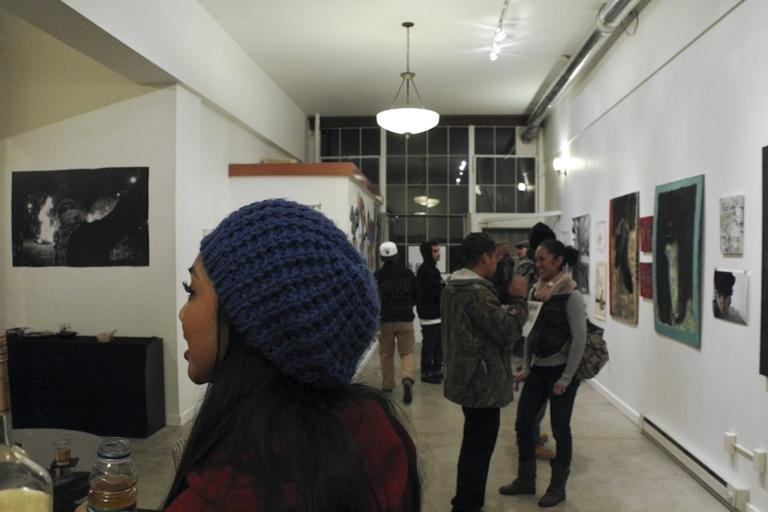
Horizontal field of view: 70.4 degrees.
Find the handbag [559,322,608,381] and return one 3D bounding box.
[{"bbox_3d":[1.715,0.751,4.706,0.392,0.693,0.708,-1,2,17],"label":"handbag"}]

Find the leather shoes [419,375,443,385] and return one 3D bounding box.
[{"bbox_3d":[0.647,1.666,7.409,0.340,0.145,0.138,2,-4,27],"label":"leather shoes"}]

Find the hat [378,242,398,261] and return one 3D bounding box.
[{"bbox_3d":[0.056,-0.064,7.035,0.194,0.211,0.257,-4,-1,1],"label":"hat"}]

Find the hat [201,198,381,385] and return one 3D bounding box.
[{"bbox_3d":[-0.400,0.153,2.287,0.738,0.767,0.186,1,8,5],"label":"hat"}]

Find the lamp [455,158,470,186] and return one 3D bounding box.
[{"bbox_3d":[1.642,-1.771,11.447,0.241,0.483,0.116,11,6,13],"label":"lamp"}]

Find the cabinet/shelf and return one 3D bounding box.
[{"bbox_3d":[-3.020,1.303,5.462,1.562,1.022,0.515,1,2,3],"label":"cabinet/shelf"}]

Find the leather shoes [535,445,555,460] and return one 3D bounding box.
[{"bbox_3d":[1.567,1.863,5.276,0.121,0.139,0.335,1,0,25],"label":"leather shoes"}]

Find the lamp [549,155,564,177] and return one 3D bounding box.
[{"bbox_3d":[3.027,-1.542,9.361,0.289,0.439,0.229,1,2,6],"label":"lamp"}]
